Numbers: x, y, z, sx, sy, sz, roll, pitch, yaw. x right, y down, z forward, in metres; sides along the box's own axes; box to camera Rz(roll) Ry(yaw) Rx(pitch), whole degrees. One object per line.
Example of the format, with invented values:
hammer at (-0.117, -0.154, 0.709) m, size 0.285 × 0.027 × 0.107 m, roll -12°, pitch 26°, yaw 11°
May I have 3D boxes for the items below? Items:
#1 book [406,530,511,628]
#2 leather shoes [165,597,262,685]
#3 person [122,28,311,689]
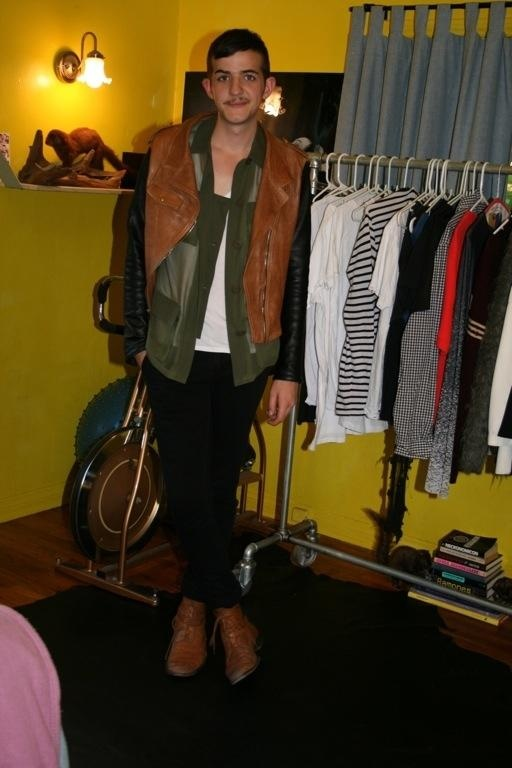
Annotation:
book at (0.801, 0.719, 2.270) m, size 0.296 × 0.216 × 0.301 m, roll 8°, pitch 0°, yaw 37°
leather shoes at (-0.121, 0.709, 1.758) m, size 0.180 × 0.115 × 0.281 m, roll 2°, pitch 4°, yaw 0°
person at (-0.121, -0.089, 1.572) m, size 0.463 × 1.595 × 0.418 m, roll 3°, pitch -1°, yaw 18°
